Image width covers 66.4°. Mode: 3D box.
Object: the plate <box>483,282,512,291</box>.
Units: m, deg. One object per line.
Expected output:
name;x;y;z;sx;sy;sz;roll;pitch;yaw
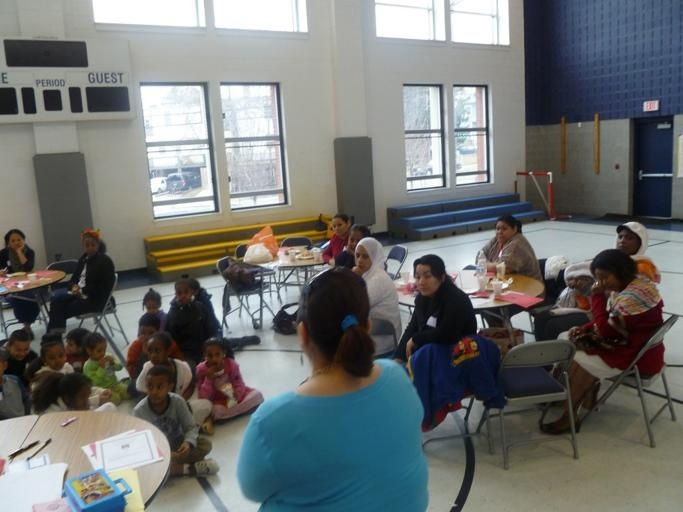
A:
plate;1.385;0.259;4.655;0.157;0.067;0.116;-7;-3;36

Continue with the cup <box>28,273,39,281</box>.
cup;-3.679;0.242;6.198;0.127;0.103;0.125;0;5;0

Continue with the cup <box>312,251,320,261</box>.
cup;-0.315;-0.007;6.585;0.104;0.086;0.110;-3;14;1

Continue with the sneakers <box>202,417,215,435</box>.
sneakers;-1.056;1.358;4.164;0.077;0.132;0.051;-31;-36;11

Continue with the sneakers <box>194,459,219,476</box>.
sneakers;-0.949;1.474;3.680;0.136;0.109;0.100;-14;33;1

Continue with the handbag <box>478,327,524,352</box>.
handbag;1.365;0.680;4.366;0.225;0.127;0.294;0;6;8

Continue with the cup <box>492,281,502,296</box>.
cup;1.329;0.264;4.484;0.093;0.100;0.097;-1;1;0

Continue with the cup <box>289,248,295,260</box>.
cup;-0.624;-0.030;6.439;0.097;0.125;0.108;1;10;14

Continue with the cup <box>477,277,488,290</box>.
cup;1.239;0.239;4.591;0.093;0.140;0.087;-1;9;0
